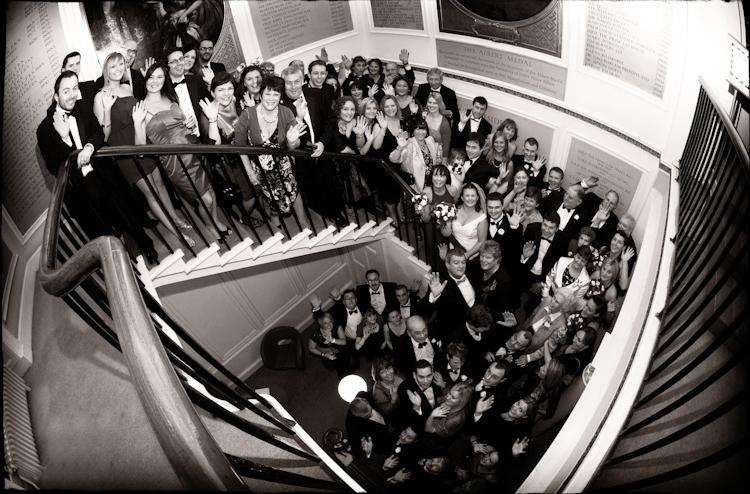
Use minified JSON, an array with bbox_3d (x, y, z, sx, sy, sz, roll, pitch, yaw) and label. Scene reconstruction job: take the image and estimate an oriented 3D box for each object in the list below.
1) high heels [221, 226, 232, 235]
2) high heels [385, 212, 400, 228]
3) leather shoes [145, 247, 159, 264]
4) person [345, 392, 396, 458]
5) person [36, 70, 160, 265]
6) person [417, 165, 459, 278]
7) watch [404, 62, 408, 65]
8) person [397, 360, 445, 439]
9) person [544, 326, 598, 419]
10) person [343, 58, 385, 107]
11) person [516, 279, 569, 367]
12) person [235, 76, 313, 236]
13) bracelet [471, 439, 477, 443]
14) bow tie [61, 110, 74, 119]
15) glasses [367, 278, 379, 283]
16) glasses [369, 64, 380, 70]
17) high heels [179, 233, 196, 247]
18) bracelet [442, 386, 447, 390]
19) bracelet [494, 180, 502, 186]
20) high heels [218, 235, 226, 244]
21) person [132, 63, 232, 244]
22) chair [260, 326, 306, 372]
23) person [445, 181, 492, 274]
[{"bbox_3d":[-1.720,-0.184,5.826,0.068,0.131,0.045,-39,18,-35],"label":"high heels"},{"bbox_3d":[0.249,-0.366,7.084,0.087,0.277,0.106,-12,16,-3],"label":"high heels"},{"bbox_3d":[-2.426,0.100,5.479,0.123,0.183,0.064,6,22,7],"label":"leather shoes"},{"bbox_3d":[-0.045,2.032,5.700,0.282,0.792,0.359,38,86,25],"label":"person"},{"bbox_3d":[-3.025,-0.775,5.361,0.763,1.967,1.414,-19,27,-30],"label":"person"},{"bbox_3d":[0.822,-0.258,6.276,0.462,1.506,0.420,-7,28,-5],"label":"person"},{"bbox_3d":[0.474,-2.799,7.702,0.051,0.018,0.074,0,5,1],"label":"watch"},{"bbox_3d":[0.613,1.715,5.621,0.431,1.078,0.352,-21,31,-8],"label":"person"},{"bbox_3d":[1.960,1.281,5.044,0.298,1.048,0.308,18,47,8],"label":"person"},{"bbox_3d":[-0.125,-2.222,7.258,0.625,0.830,0.321,-4,34,-22],"label":"person"},{"bbox_3d":[1.851,0.862,5.518,0.342,0.866,0.385,-4,58,-17],"label":"person"},{"bbox_3d":[-1.162,-0.981,5.731,0.769,1.811,0.637,-6,23,-2],"label":"person"},{"bbox_3d":[1.008,1.977,5.111,0.036,0.038,0.037,9,40,-40],"label":"bracelet"},{"bbox_3d":[-3.328,-1.425,5.447,0.081,0.032,0.083,7,69,3],"label":"bow tie"},{"bbox_3d":[-0.021,0.463,6.741,0.071,0.054,0.094,-10,11,6],"label":"glasses"},{"bbox_3d":[0.001,-2.562,7.222,0.168,0.078,0.085,-4,23,1],"label":"glasses"},{"bbox_3d":[-2.085,-0.061,5.680,0.092,0.046,0.181,20,29,-47],"label":"high heels"},{"bbox_3d":[0.758,1.536,5.457,0.061,0.023,0.088,-6,15,22],"label":"bracelet"},{"bbox_3d":[1.552,-0.805,6.365,0.064,0.038,0.039,40,17,20],"label":"bracelet"},{"bbox_3d":[-1.747,-0.083,5.735,0.040,0.042,0.075,-25,11,-1],"label":"high heels"},{"bbox_3d":[-2.157,-1.052,5.816,0.827,2.153,0.692,-18,30,-14],"label":"person"},{"bbox_3d":[-1.459,1.758,8.122,0.653,0.701,0.665,0,36,2],"label":"chair"},{"bbox_3d":[1.060,-0.281,5.922,0.538,0.972,0.275,0,24,11],"label":"person"}]
